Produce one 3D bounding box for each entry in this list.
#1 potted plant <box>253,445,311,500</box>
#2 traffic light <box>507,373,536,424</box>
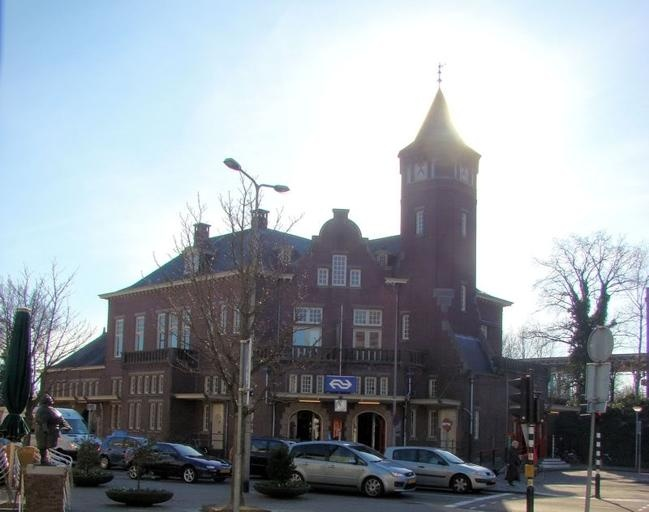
[{"bbox_3d":[-1.575,7.778,25.936,1.643,1.792,1.783,-3,-8,25],"label":"potted plant"},{"bbox_3d":[5.323,3.789,19.521,0.544,1.345,1.037,0,-14,2],"label":"traffic light"}]
